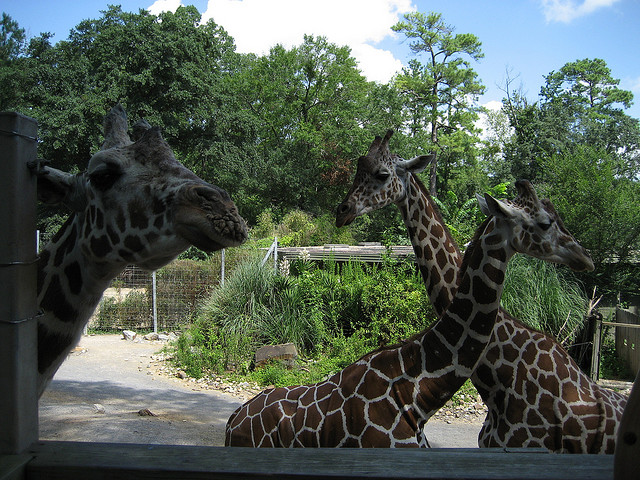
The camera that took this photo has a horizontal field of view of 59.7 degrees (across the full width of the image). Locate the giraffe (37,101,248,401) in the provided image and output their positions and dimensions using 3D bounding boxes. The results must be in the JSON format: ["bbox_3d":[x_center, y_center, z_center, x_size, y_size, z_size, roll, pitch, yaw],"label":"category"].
[{"bbox_3d":[-1.268,0.067,3.707,1.422,1.637,0.566,6,-4,8],"label":"giraffe"}]
